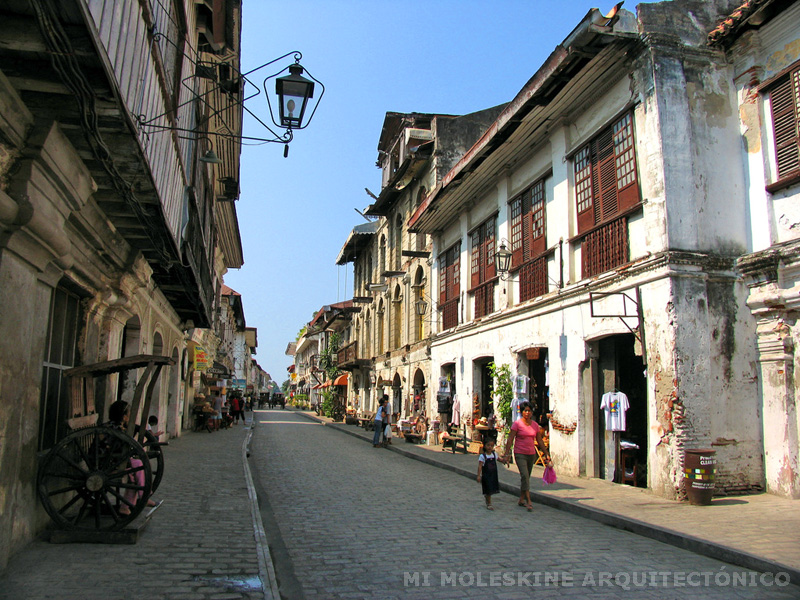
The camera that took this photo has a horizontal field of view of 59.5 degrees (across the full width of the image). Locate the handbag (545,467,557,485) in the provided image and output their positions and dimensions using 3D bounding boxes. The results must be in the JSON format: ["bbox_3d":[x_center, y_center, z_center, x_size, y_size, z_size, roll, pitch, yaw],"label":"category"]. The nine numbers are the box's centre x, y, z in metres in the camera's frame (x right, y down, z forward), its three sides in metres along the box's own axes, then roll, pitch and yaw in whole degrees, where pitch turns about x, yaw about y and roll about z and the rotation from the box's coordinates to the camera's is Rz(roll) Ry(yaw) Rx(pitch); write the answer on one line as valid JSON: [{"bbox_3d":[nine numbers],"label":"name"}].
[{"bbox_3d":[2.653,3.108,12.427,0.191,0.379,0.542,1,-2,11],"label":"handbag"}]

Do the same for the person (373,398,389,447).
[{"bbox_3d":[-0.656,4.030,23.232,0.468,1.611,1.207,1,-2,-1],"label":"person"}]

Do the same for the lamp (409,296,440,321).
[{"bbox_3d":[0.866,0.288,25.567,0.788,0.888,0.733,4,-10,-22],"label":"lamp"}]

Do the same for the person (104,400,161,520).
[{"bbox_3d":[-3.908,2.265,10.180,0.662,1.634,0.661,3,7,13],"label":"person"}]

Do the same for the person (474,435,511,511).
[{"bbox_3d":[1.570,3.060,12.499,0.357,1.195,0.986,1,-2,7],"label":"person"}]

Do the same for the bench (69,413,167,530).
[{"bbox_3d":[-3.984,2.408,9.683,0.986,1.133,1.139,19,-12,-3],"label":"bench"}]

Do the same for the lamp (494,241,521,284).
[{"bbox_3d":[2.865,-1.014,18.910,0.756,1.949,0.822,-1,3,12],"label":"lamp"}]
